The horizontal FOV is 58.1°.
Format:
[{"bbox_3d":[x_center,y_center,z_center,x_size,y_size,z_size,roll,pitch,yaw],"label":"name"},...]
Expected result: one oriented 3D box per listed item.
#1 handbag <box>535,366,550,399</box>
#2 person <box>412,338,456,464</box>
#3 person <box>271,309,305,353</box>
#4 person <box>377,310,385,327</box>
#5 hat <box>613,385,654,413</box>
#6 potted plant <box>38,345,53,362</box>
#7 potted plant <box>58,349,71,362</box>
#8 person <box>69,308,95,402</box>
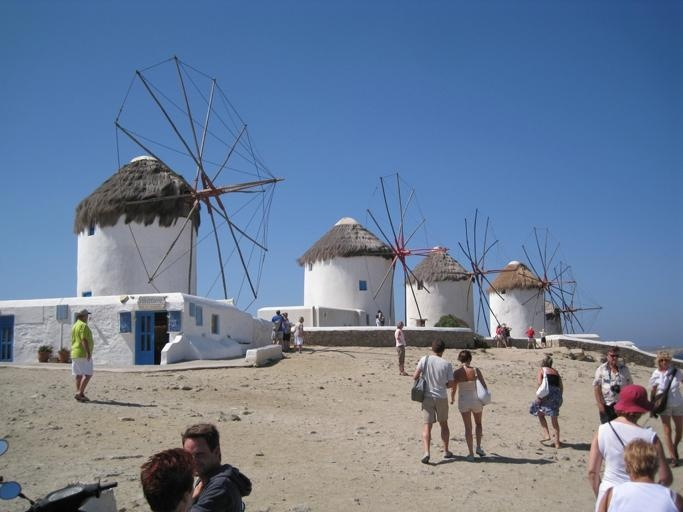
[{"bbox_3d":[3.514,2.208,10.694,0.192,0.520,0.276,-3,-7,21],"label":"handbag"},{"bbox_3d":[1.474,2.342,9.932,0.685,1.959,0.494,0,-6,-8],"label":"person"},{"bbox_3d":[-2.031,2.824,23.050,1.044,1.428,1.981,0,-7,-8],"label":"person"},{"bbox_3d":[2.125,3.328,33.080,0.490,1.364,0.301,-4,-19,14],"label":"person"},{"bbox_3d":[3.177,1.498,6.696,0.296,0.185,0.336,-1,-7,18],"label":"hat"},{"bbox_3d":[-9.571,3.123,19.840,0.417,0.582,0.461,-5,-11,27],"label":"potted plant"},{"bbox_3d":[-8.755,3.125,19.511,0.394,0.440,0.402,-1,-6,-4],"label":"potted plant"},{"bbox_3d":[-5.102,1.936,12.087,0.370,1.788,0.986,2,-7,-24],"label":"person"}]
